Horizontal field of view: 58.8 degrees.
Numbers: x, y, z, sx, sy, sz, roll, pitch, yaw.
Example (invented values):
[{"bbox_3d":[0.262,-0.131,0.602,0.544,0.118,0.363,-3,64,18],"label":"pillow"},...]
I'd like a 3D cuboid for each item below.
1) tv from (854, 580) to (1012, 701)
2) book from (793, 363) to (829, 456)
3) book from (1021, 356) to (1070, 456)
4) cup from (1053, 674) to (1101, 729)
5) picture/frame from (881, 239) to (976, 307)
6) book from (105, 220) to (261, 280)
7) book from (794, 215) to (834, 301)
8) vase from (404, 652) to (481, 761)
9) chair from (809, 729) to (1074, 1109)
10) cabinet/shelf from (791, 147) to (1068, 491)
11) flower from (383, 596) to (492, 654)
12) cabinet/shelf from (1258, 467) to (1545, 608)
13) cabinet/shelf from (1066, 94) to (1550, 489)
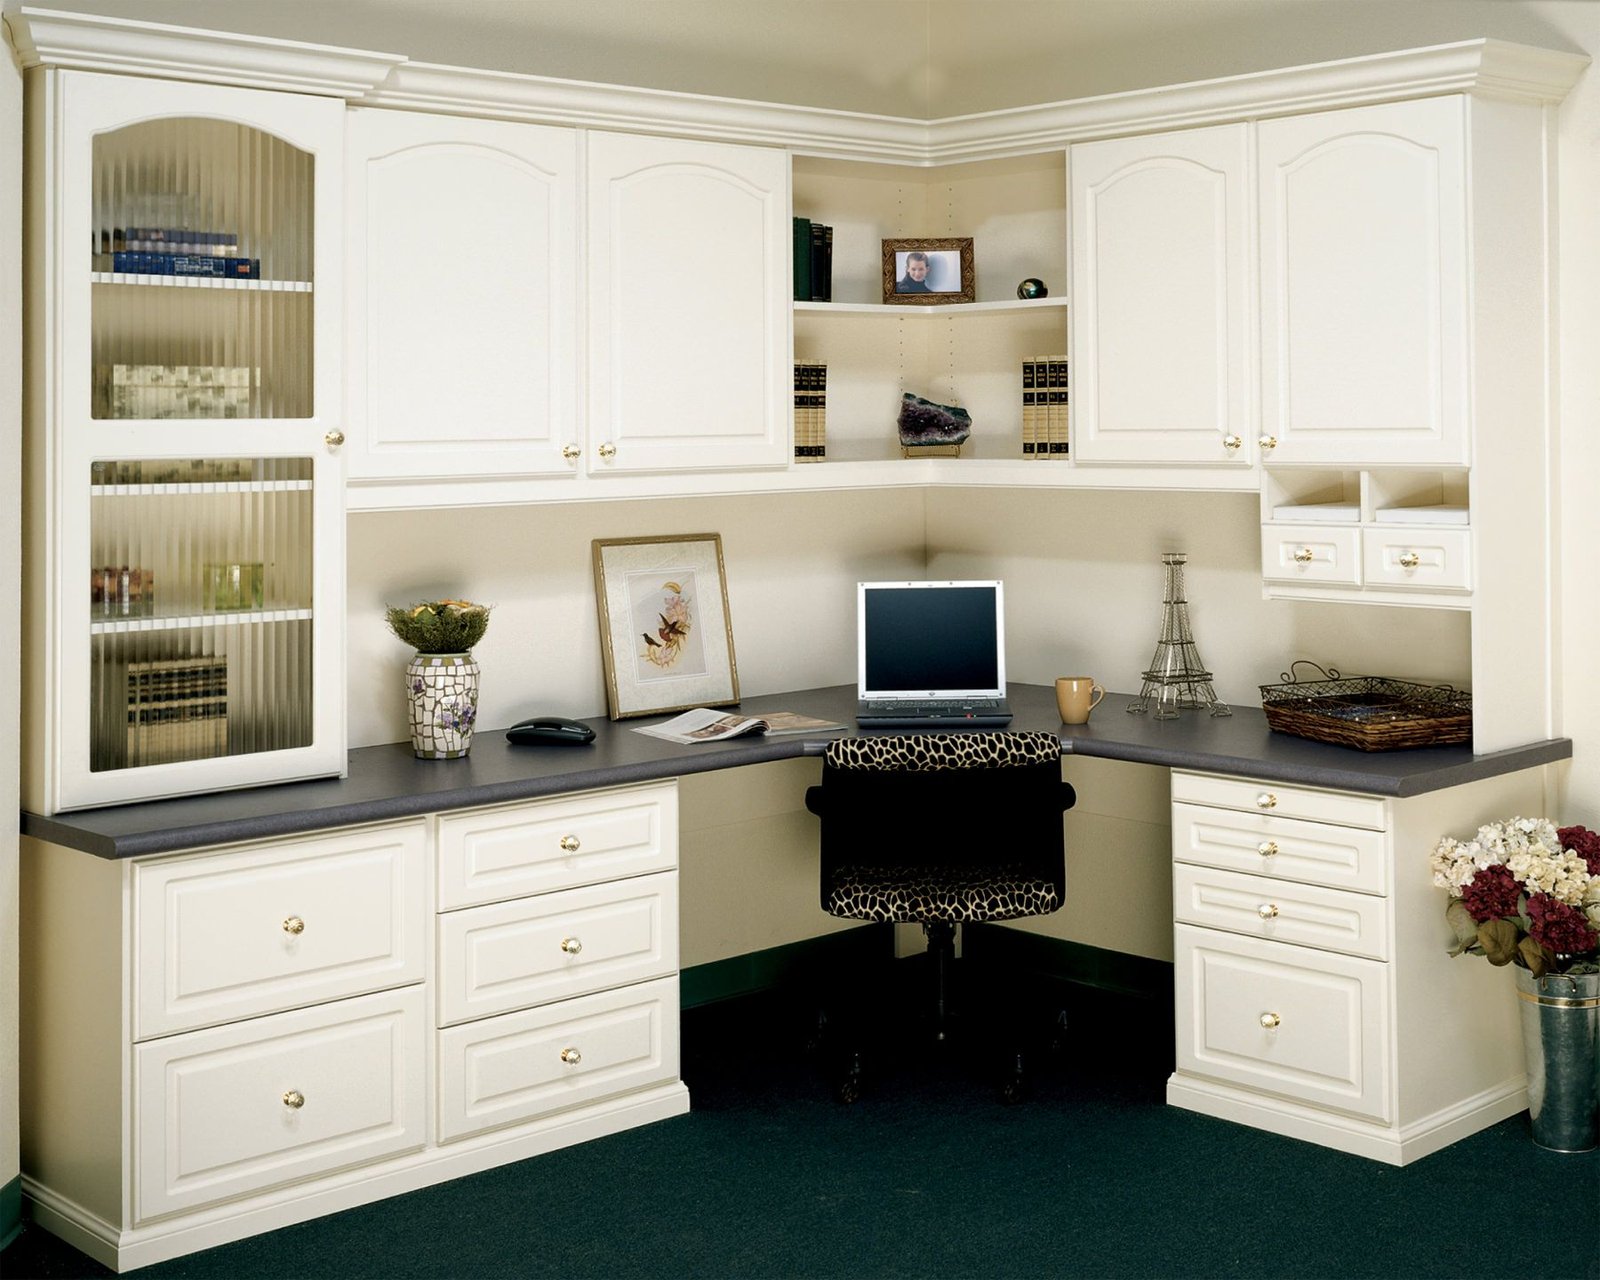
[{"bbox_3d":[0.384,0.002,4.167,0.426,0.293,0.029,0,-5,0],"label":"tv"},{"bbox_3d":[0.019,-0.680,4.199,0.046,0.273,0.131,3,9,40],"label":"book"},{"bbox_3d":[0.723,-0.691,4.191,0.038,0.281,0.147,-10,10,-43],"label":"book"},{"bbox_3d":[0.767,0.168,4.019,0.152,0.116,0.115,0,3,-3],"label":"cup"},{"bbox_3d":[0.399,-1.151,4.432,0.288,0.176,0.020,0,1,-5],"label":"picture/frame"},{"bbox_3d":[-1.321,-0.835,3.044,0.318,0.105,0.017,-7,8,-36],"label":"book"},{"bbox_3d":[0.034,-1.133,4.224,0.050,0.238,0.170,1,8,30],"label":"book"},{"bbox_3d":[-0.913,0.164,3.659,0.209,0.252,0.187,-1,1,-29],"label":"vase"},{"bbox_3d":[0.353,0.618,3.488,0.641,0.714,0.549,-1,3,4],"label":"chair"},{"bbox_3d":[0.408,-1.032,4.437,1.221,0.961,0.381,0,1,12],"label":"cabinet/shelf"},{"bbox_3d":[-0.920,-0.031,3.624,0.183,0.086,0.173,-2,-1,18],"label":"flower"},{"bbox_3d":[1.539,-0.282,3.650,0.346,0.348,0.619,-6,8,-37],"label":"cabinet/shelf"},{"bbox_3d":[1.380,-0.941,3.841,0.518,0.983,1.321,-14,17,-32],"label":"cabinet/shelf"}]
